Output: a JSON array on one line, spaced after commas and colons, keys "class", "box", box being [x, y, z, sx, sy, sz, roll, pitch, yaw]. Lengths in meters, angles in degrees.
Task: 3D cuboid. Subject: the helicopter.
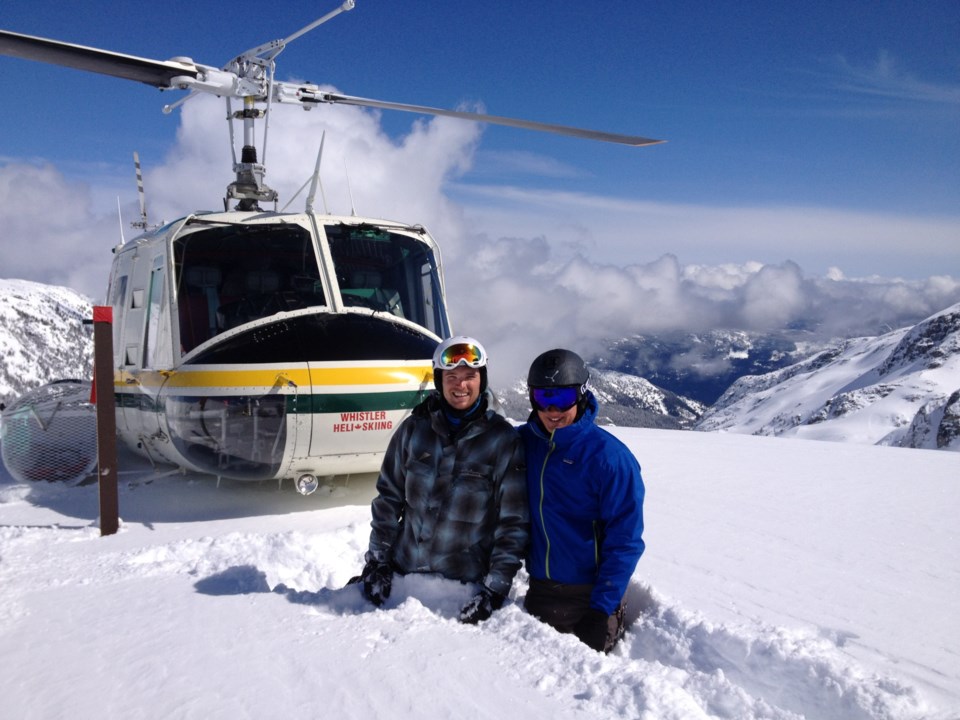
[{"class": "helicopter", "box": [-3.373, -1.478, 11.292, 6.126, 3.583, 7.298, -1, 2, -25]}]

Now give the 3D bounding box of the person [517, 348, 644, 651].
[{"class": "person", "box": [0.873, 1.163, 6.509, 1.116, 2.414, 0.604, 2, 0, 15]}]
